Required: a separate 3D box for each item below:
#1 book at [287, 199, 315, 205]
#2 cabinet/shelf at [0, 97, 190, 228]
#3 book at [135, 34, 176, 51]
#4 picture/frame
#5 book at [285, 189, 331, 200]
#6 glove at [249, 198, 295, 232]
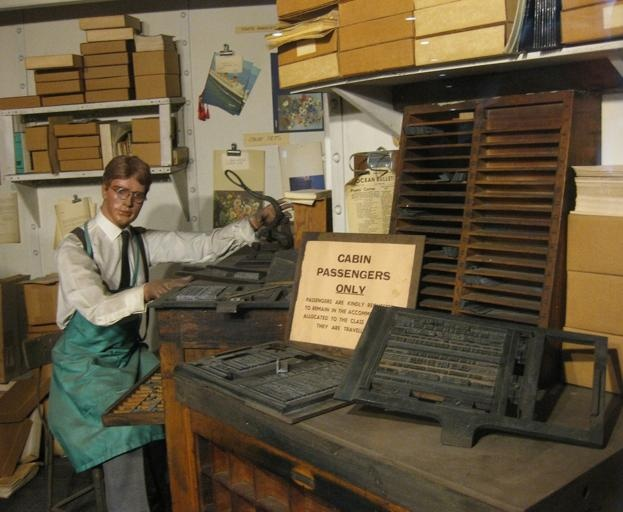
[{"bbox_3d":[-0.047,-0.246,2.339,0.136,0.023,0.024,9,11,38],"label":"book"},{"bbox_3d":[-1.437,-0.671,3.463,1.300,0.678,0.374,-2,4,6],"label":"cabinet/shelf"},{"bbox_3d":[-1.058,-1.401,3.421,0.225,0.061,0.151,-3,13,-11],"label":"book"},{"bbox_3d":[0.143,0.141,1.609,0.517,0.412,0.051,1,-15,31],"label":"picture/frame"},{"bbox_3d":[-0.024,-0.282,2.390,0.183,0.054,0.198,4,8,13],"label":"book"},{"bbox_3d":[-0.232,-0.227,2.767,0.238,0.127,0.060,-25,-9,1],"label":"glove"}]
